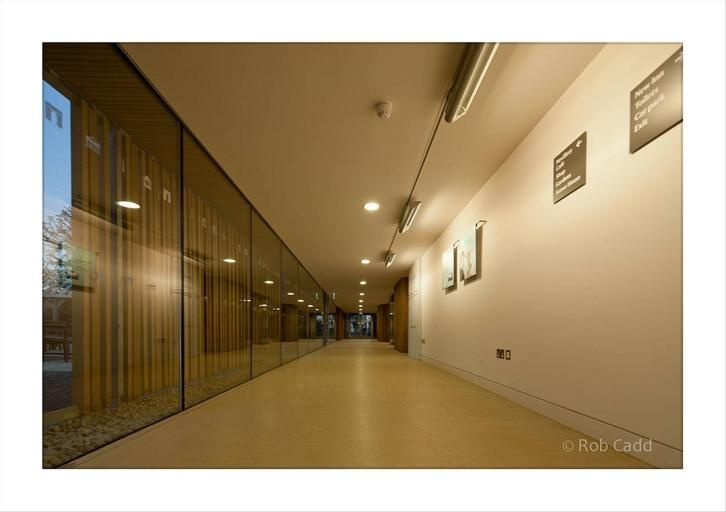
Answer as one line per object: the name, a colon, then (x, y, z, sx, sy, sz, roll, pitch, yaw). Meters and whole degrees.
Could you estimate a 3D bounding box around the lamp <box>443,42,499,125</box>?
lamp: (0.916, -1.492, 3.793, 0.147, 0.156, 0.695, -18, -33, -15)
